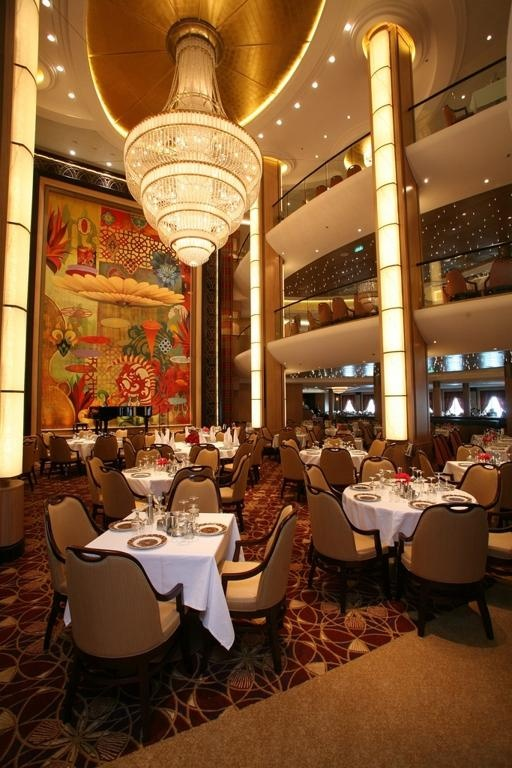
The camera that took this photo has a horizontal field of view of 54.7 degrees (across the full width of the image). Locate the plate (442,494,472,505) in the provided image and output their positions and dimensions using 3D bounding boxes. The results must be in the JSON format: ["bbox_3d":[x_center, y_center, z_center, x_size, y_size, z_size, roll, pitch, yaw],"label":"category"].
[{"bbox_3d":[1.435,0.829,3.552,0.143,0.040,0.156,-2,8,11],"label":"plate"}]

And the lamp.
[{"bbox_3d":[-0.686,-2.957,5.430,1.389,3.135,1.659,-1,1,-5],"label":"lamp"}]

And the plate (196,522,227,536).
[{"bbox_3d":[-0.278,0.873,3.002,0.180,0.015,0.250,-1,1,1],"label":"plate"}]
